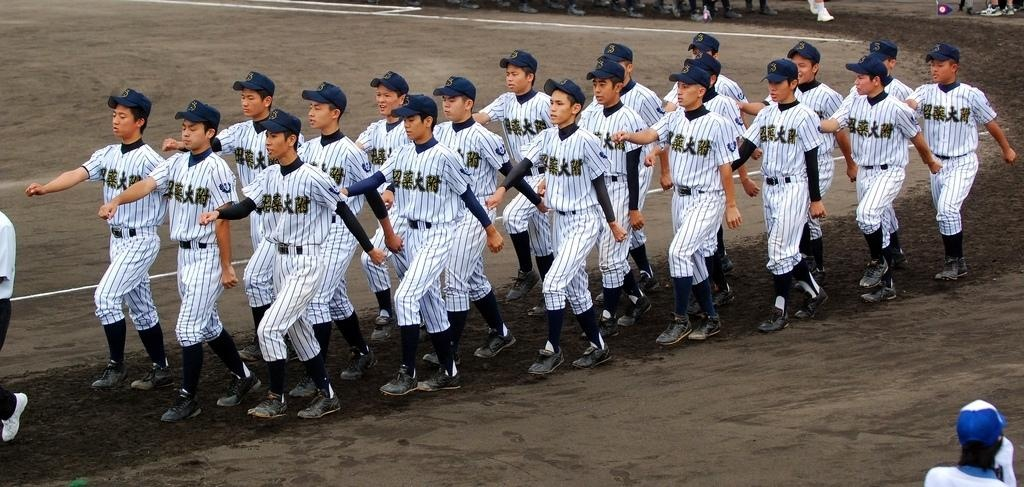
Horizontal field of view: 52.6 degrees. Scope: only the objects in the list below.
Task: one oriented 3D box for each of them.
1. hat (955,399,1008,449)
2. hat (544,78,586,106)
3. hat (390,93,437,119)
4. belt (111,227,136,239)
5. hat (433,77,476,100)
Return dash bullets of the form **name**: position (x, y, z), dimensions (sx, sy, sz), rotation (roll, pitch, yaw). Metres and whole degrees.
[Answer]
- **hat**: position (6.083, 2.355, 13.510), dimensions (0.578, 0.346, 0.697), rotation (4, 31, 26)
- **hat**: position (0.993, -2.496, 17.021), dimensions (0.722, 0.203, 0.457), rotation (17, 5, -28)
- **hat**: position (-1.583, -2.188, 16.617), dimensions (0.668, 0.377, 0.360), rotation (-2, 15, -9)
- **belt**: position (-6.304, -0.181, 16.805), dimensions (0.448, 0.187, 0.059), rotation (3, 17, 12)
- **hat**: position (-0.892, -2.590, 17.194), dimensions (0.761, 0.262, 0.439), rotation (3, 7, -12)
